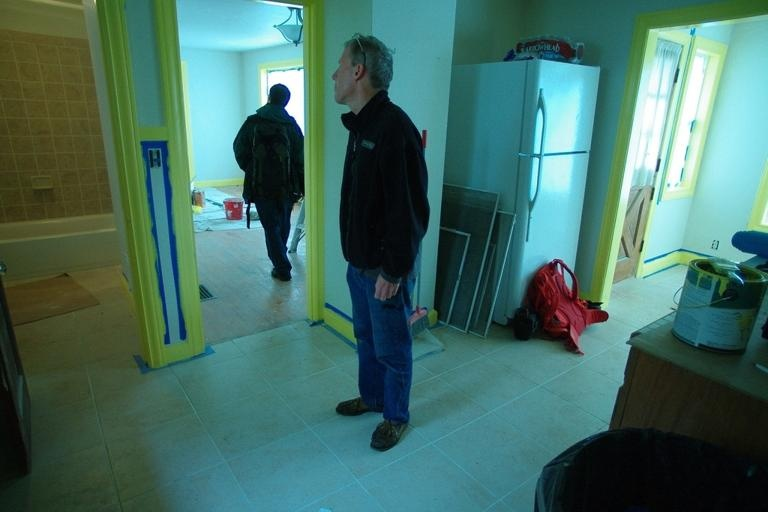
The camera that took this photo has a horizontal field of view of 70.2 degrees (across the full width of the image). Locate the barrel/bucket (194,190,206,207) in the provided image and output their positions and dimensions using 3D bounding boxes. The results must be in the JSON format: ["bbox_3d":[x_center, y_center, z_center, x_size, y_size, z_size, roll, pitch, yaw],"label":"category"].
[{"bbox_3d":[-2.738,-0.811,8.029,0.130,0.250,0.338,-4,21,-12],"label":"barrel/bucket"}]

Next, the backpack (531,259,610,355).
[{"bbox_3d":[1.598,0.454,4.732,0.404,0.473,0.493,-31,52,-8],"label":"backpack"}]

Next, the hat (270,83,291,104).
[{"bbox_3d":[-0.997,-1.590,5.266,0.176,0.215,0.213,10,51,-16],"label":"hat"}]

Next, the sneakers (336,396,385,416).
[{"bbox_3d":[-0.164,1.027,3.793,0.346,0.122,0.126,3,1,-3],"label":"sneakers"}]

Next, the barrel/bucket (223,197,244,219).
[{"bbox_3d":[-2.129,-0.673,7.787,0.301,0.261,0.273,-2,9,-3],"label":"barrel/bucket"}]

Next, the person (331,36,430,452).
[{"bbox_3d":[-0.043,-0.042,3.413,0.497,2.495,0.687,-16,27,-37],"label":"person"}]

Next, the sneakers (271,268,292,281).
[{"bbox_3d":[-1.056,0.183,5.563,0.218,0.102,0.095,21,27,34],"label":"sneakers"}]

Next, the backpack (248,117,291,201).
[{"bbox_3d":[-1.090,-0.922,5.222,0.385,0.743,0.190,-2,21,-9],"label":"backpack"}]

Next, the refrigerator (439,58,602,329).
[{"bbox_3d":[1.149,-0.556,4.775,1.262,2.190,0.826,4,21,7],"label":"refrigerator"}]
